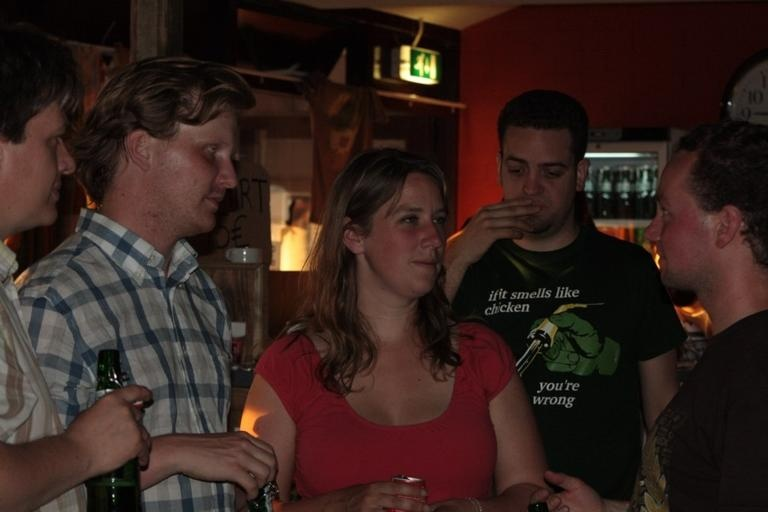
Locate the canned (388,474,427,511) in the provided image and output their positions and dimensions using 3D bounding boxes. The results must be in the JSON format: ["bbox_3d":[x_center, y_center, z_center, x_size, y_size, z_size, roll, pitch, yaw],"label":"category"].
[{"bbox_3d":[0.078,0.749,2.309,0.129,0.130,0.080,7,4,1],"label":"canned"}]
